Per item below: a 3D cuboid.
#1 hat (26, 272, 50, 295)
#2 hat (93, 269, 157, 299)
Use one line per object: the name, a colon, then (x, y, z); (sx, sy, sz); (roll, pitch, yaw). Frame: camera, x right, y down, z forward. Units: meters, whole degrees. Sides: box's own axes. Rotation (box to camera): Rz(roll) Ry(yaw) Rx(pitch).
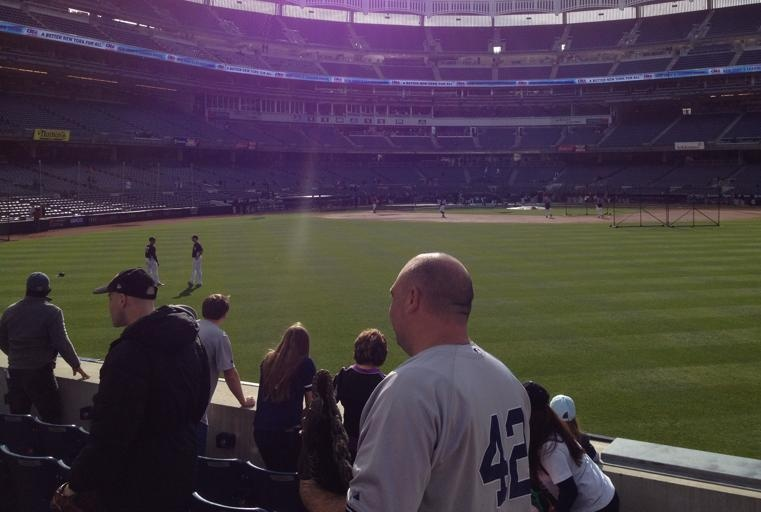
hat: (-7.573, 0.637, 16.551); (0.440, 0.518, 0.508); (2, 4, -11)
hat: (-4.792, 0.540, 14.409); (0.866, 0.438, 0.553); (6, -3, 1)
